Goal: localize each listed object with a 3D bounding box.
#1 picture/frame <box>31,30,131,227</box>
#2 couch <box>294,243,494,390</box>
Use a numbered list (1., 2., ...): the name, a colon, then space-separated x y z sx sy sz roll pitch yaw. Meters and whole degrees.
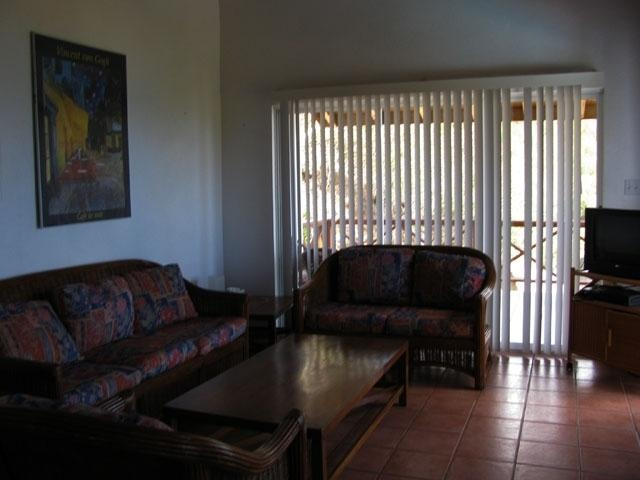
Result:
1. picture/frame: -1.837 -0.818 3.957 0.052 1.357 0.863 3 8 25
2. couch: 0.714 0.622 4.601 1.649 1.154 0.982 0 -1 24
